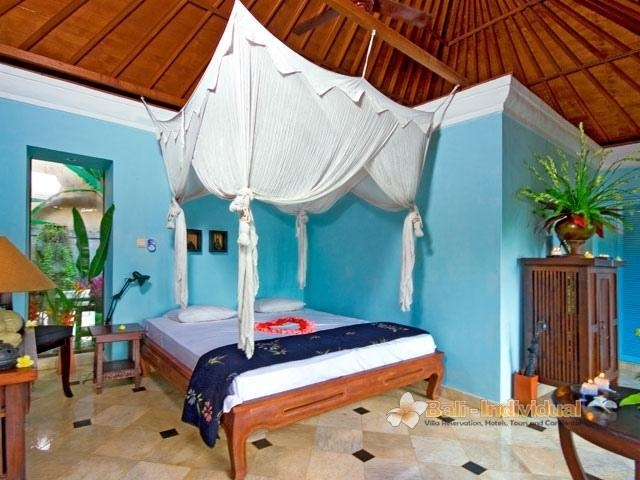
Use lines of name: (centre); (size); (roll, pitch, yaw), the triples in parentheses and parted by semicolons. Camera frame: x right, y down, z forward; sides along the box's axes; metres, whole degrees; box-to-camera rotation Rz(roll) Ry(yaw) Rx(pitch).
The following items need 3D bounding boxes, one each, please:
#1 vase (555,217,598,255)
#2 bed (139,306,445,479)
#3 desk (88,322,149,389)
vase: (2.860, -0.030, 4.815); (0.391, 0.462, 0.407); (0, -1, 38)
bed: (-0.013, 1.303, 4.153); (1.757, 0.426, 1.598); (-2, 3, -37)
desk: (-2.355, 1.325, 5.142); (0.679, 0.833, 0.700); (0, -3, -30)
